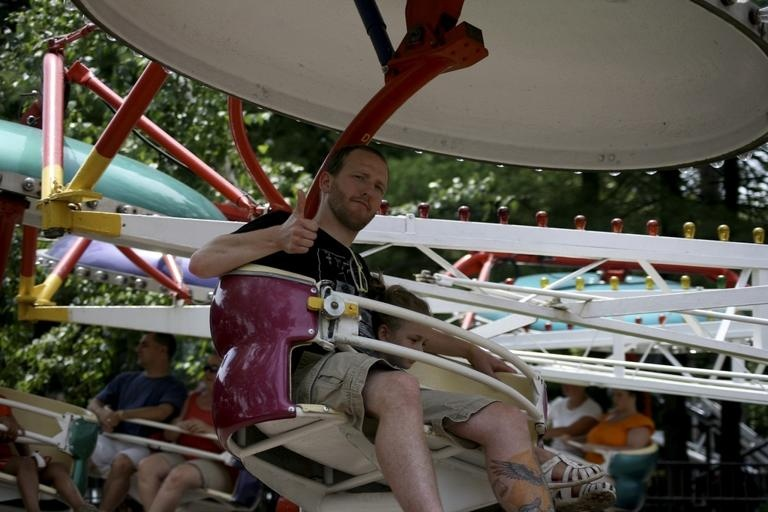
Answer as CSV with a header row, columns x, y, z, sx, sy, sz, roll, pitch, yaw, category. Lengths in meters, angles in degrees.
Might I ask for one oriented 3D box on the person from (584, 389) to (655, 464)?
x,y,z,sx,sy,sz,roll,pitch,yaw,category
2.379,1.686,12.602,0.503,0.772,0.862,12,-11,-14,person
